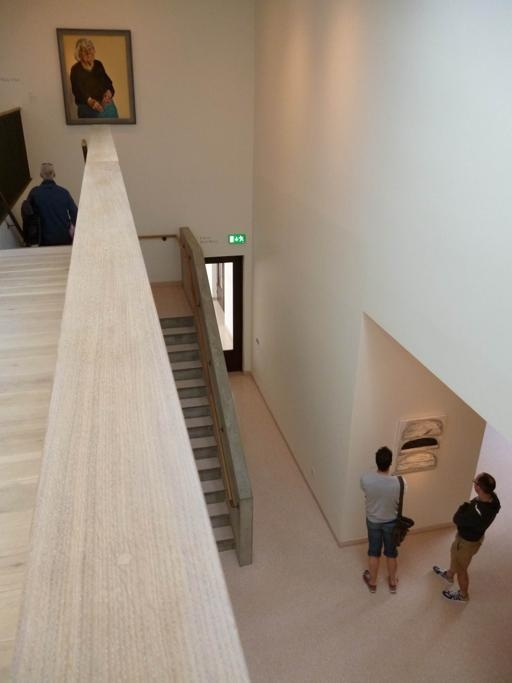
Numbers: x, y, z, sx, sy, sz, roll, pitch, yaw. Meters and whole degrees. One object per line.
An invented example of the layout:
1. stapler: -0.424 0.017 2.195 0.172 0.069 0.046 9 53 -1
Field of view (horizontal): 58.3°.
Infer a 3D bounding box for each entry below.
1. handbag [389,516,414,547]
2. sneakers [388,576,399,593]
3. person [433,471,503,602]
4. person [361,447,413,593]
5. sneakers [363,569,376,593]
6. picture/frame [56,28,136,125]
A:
1. handbag: 1.489 1.926 4.729 0.194 0.312 0.096 -11 25 -18
2. sneakers: 1.488 2.621 4.969 0.064 0.089 0.203 -3 32 4
3. person: 2.140 1.965 4.747 0.419 1.674 0.450 -14 26 -25
4. person: 1.386 1.809 4.896 0.492 1.786 0.462 5 23 25
5. sneakers: 1.249 2.614 5.054 0.060 0.102 0.217 -3 31 -5
6. picture/frame: -2.567 -4.320 7.545 1.137 1.946 0.075 -6 -14 -15
